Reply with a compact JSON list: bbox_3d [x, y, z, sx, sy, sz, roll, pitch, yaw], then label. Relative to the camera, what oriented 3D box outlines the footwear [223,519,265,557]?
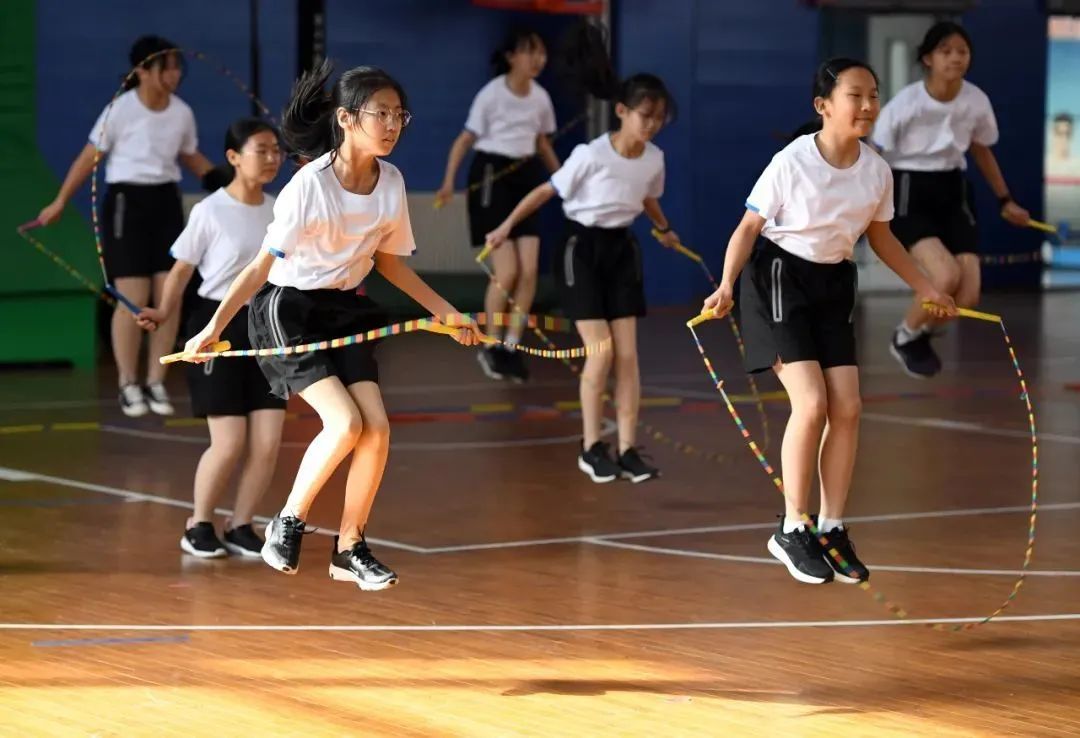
[{"bbox_3d":[-1.273,0.733,4.564,0.230,0.086,0.118,5,6,33],"label":"footwear"}]

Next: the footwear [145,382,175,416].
[{"bbox_3d":[-2.354,0.192,6.565,0.118,0.115,0.306,-1,22,-38],"label":"footwear"}]

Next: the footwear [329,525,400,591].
[{"bbox_3d":[-0.629,0.669,3.803,0.353,0.161,0.135,10,17,42],"label":"footwear"}]

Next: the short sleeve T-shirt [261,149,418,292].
[{"bbox_3d":[-0.679,-0.498,3.683,0.567,0.454,0.245,-2,19,-40],"label":"short sleeve T-shirt"}]

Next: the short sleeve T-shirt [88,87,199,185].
[{"bbox_3d":[-2.383,-1.401,6.353,0.405,0.522,0.716,29,26,37],"label":"short sleeve T-shirt"}]

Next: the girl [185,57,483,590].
[{"bbox_3d":[-0.718,-0.077,3.738,0.830,1.969,0.528,-1,11,-4],"label":"girl"}]

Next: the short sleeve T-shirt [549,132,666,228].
[{"bbox_3d":[0.371,-0.957,5.374,0.674,0.449,0.371,-5,35,-31],"label":"short sleeve T-shirt"}]

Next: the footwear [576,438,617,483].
[{"bbox_3d":[0.290,0.476,5.428,0.123,0.119,0.277,-3,11,-34],"label":"footwear"}]

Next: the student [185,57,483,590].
[{"bbox_3d":[-0.709,-0.078,3.748,0.799,1.969,0.511,1,11,4],"label":"student"}]

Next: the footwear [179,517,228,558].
[{"bbox_3d":[-1.419,0.728,4.480,0.111,0.091,0.220,-1,3,-37],"label":"footwear"}]

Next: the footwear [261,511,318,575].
[{"bbox_3d":[-0.895,0.607,3.770,0.113,0.128,0.280,41,2,-20],"label":"footwear"}]

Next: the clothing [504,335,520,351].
[{"bbox_3d":[-0.224,-0.174,7.383,0.131,0.125,0.126,5,-4,-17],"label":"clothing"}]

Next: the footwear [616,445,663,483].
[{"bbox_3d":[0.491,0.497,5.418,0.147,0.110,0.253,-10,16,-37],"label":"footwear"}]

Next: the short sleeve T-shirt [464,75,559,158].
[{"bbox_3d":[-0.216,-1.652,7.190,0.862,0.630,0.480,3,11,-9],"label":"short sleeve T-shirt"}]
